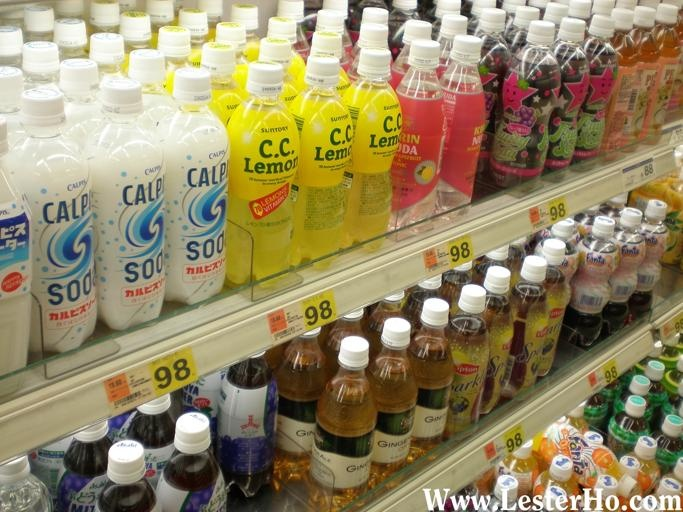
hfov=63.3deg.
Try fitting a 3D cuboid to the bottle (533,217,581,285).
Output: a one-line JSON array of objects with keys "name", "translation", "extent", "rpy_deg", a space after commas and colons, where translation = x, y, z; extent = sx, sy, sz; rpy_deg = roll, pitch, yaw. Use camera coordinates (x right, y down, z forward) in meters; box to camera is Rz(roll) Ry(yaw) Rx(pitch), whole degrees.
[{"name": "bottle", "translation": [0.668, -0.010, 1.712], "extent": [0.117, 0.204, 0.120], "rpy_deg": [-2, 32, 1]}]

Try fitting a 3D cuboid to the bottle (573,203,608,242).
[{"name": "bottle", "translation": [0.847, -0.108, 1.890], "extent": [0.069, 0.122, 0.071], "rpy_deg": [-4, 36, 3]}]

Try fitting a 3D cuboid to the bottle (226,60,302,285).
[{"name": "bottle", "translation": [-0.152, -0.114, 1.023], "extent": [0.153, 0.340, 0.088], "rpy_deg": [-11, 31, -21]}]
